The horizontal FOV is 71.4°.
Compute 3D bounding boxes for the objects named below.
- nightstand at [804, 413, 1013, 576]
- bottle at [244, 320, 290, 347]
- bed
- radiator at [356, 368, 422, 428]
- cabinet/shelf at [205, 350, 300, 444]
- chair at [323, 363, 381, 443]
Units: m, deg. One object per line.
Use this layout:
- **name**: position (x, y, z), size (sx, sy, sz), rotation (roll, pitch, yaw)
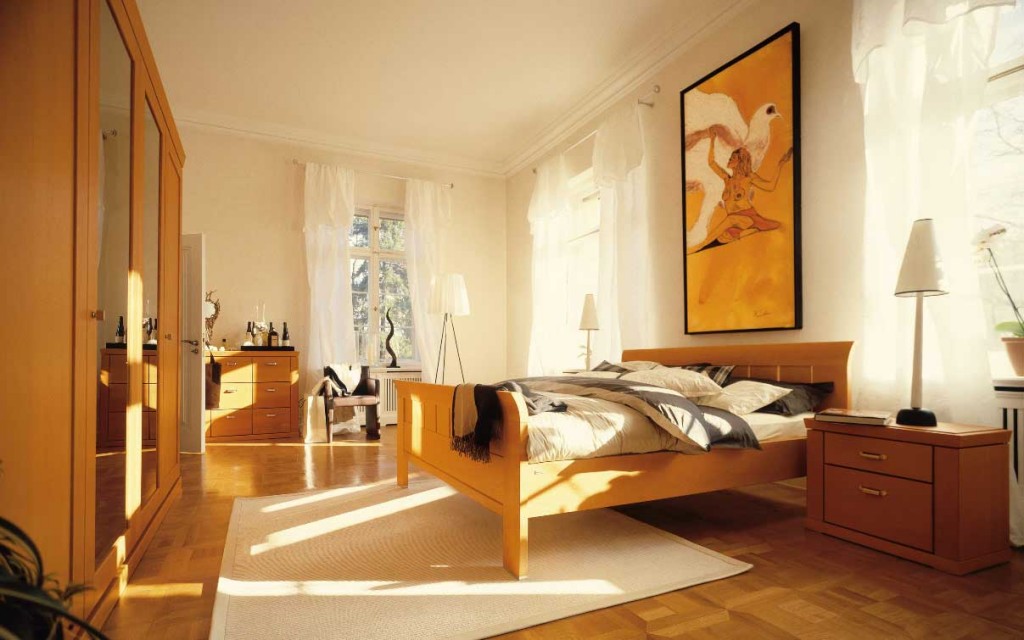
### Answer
- **nightstand**: position (2.276, 1.000, 4.392), size (0.759, 1.010, 1.280), rotation (6, -8, -36)
- **bottle**: position (-2.622, 0.151, 7.632), size (0.455, 0.247, 0.448), rotation (-1, 12, 0)
- **bed**: position (0.823, 0.872, 4.694), size (2.063, 0.857, 1.764), rotation (3, -4, -29)
- **radiator**: position (-1.501, 0.897, 8.549), size (0.331, 0.534, 0.604), rotation (19, -11, -42)
- **cabinet/shelf**: position (-2.704, 0.792, 7.318), size (0.988, 0.846, 0.425), rotation (1, -5, -20)
- **chair**: position (-1.722, 0.870, 7.641), size (0.679, 0.886, 0.745), rotation (3, -9, -29)
